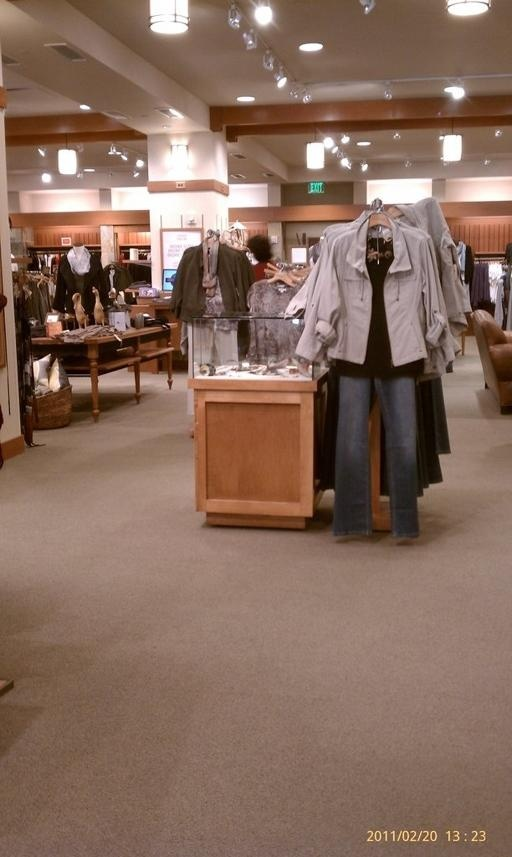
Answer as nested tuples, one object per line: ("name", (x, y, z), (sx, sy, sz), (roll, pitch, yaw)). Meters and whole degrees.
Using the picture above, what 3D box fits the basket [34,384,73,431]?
("basket", (-2.342, -0.230, 6.332), (0.340, 0.348, 0.460), (-3, 6, -1))

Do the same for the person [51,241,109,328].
("person", (-3.126, -2.488, 9.787), (0.935, 0.510, 1.802), (-6, -36, -21))
